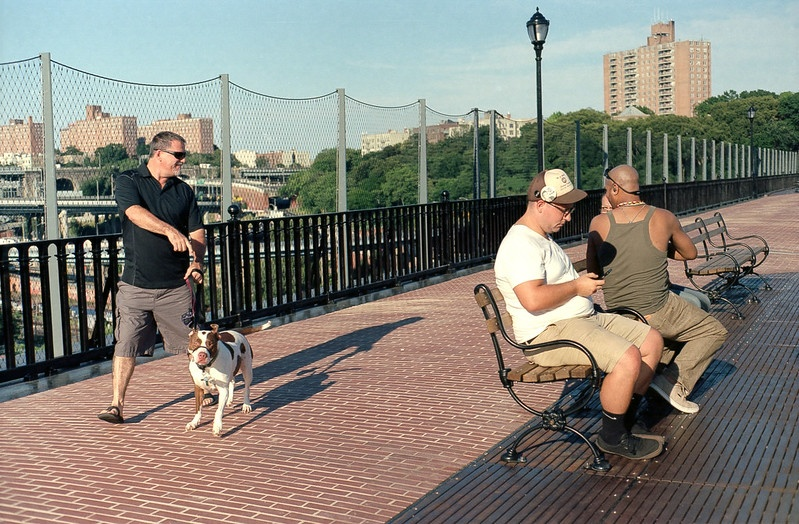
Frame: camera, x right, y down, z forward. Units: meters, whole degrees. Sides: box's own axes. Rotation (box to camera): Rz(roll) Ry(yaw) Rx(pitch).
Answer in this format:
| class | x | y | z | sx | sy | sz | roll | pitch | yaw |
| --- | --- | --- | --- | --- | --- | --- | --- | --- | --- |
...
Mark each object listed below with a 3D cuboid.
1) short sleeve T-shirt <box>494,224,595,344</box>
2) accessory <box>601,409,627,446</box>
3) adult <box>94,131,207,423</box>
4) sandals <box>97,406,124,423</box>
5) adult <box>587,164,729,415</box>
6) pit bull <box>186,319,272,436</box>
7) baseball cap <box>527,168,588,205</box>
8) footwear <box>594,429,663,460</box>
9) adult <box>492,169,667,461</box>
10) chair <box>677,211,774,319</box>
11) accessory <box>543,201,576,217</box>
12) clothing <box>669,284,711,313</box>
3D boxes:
| class | x | y | z | sx | sy | sz | roll | pitch | yaw |
| --- | --- | --- | --- | --- | --- | --- | --- | --- | --- |
| short sleeve T-shirt | 1.201 | 0.160 | 6.844 | 0.600 | 0.757 | 0.838 | 16 | 3 | 39 |
| accessory | 1.679 | 1.298 | 6.591 | 0.209 | 0.274 | 0.128 | 1 | 10 | 14 |
| adult | -2.264 | 0.131 | 7.646 | 0.976 | 2.568 | 0.646 | -5 | 10 | -16 |
| sandals | -2.585 | 1.384 | 7.509 | 0.118 | 0.087 | 0.234 | 0 | -20 | 6 |
| adult | 2.355 | 0.231 | 7.662 | 1.128 | 2.203 | 1.049 | 10 | 24 | 44 |
| pit bull | -1.647 | 0.969 | 7.442 | 0.392 | 1.011 | 0.729 | 1 | 11 | 15 |
| baseball cap | 1.243 | -0.579 | 6.600 | 0.361 | 0.207 | 0.283 | -1 | 14 | 15 |
| footwear | 1.819 | 1.456 | 6.559 | 0.442 | 0.192 | 0.216 | -2 | 27 | 11 |
| adult | 1.411 | 0.400 | 6.669 | 1.304 | 2.243 | 0.543 | 1 | 10 | 16 |
| chair | 5.095 | 0.044 | 12.967 | 0.784 | 1.067 | 1.974 | -1 | 9 | 28 |
| accessory | 1.282 | -0.432 | 6.644 | 0.151 | 0.047 | 0.154 | 21 | 7 | 19 |
| clothing | 2.923 | 0.367 | 8.347 | 0.344 | 0.131 | 0.381 | 18 | 9 | 6 |
